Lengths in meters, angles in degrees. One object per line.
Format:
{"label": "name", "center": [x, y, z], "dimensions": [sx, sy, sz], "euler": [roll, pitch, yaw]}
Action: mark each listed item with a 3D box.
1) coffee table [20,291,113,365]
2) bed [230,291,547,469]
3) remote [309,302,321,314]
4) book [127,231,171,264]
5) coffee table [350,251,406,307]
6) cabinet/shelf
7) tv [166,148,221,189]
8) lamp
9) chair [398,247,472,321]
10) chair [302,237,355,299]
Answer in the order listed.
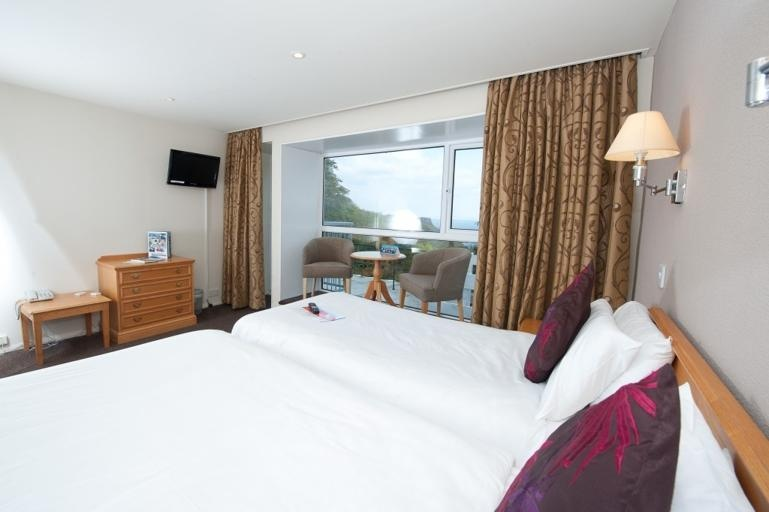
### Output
{"label": "coffee table", "center": [-3.194, 0.682, 4.689], "dimensions": [0.673, 0.524, 0.635], "euler": [-9, 13, -42]}
{"label": "bed", "center": [0.142, 0.679, 3.051], "dimensions": [1.521, 0.362, 0.937], "euler": [17, 21, 28]}
{"label": "remote", "center": [-0.565, 0.423, 3.780], "dimensions": [0.141, 0.055, 0.044], "euler": [14, 6, 34]}
{"label": "book", "center": [-2.682, -0.100, 5.360], "dimensions": [0.368, 0.394, 0.141], "euler": [2, 3, -8]}
{"label": "coffee table", "center": [-0.078, 0.287, 5.802], "dimensions": [0.561, 0.547, 0.550], "euler": [0, -3, 28]}
{"label": "cabinet/shelf", "center": [-2.637, 0.419, 5.275], "dimensions": [0.519, 0.852, 0.932], "euler": [11, 13, 31]}
{"label": "tv", "center": [-2.360, -1.080, 5.754], "dimensions": [0.075, 0.353, 0.578], "euler": [15, 8, 31]}
{"label": "lamp", "center": [1.610, -0.605, 2.926], "dimensions": [0.400, 0.580, 0.395], "euler": [2, 5, 31]}
{"label": "chair", "center": [0.567, 0.313, 5.226], "dimensions": [0.726, 0.772, 0.735], "euler": [-1, 11, -10]}
{"label": "chair", "center": [-0.721, 0.174, 6.104], "dimensions": [0.769, 0.818, 0.790], "euler": [5, 6, 36]}
